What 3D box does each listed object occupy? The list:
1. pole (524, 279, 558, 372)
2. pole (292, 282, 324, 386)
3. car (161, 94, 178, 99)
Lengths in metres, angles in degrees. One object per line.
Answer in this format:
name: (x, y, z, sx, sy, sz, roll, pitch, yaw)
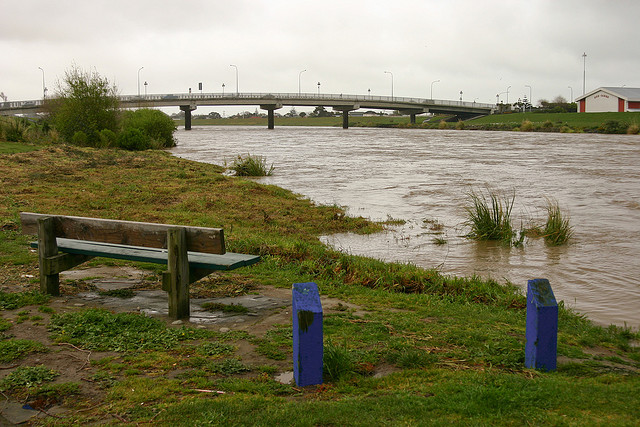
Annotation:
pole: (3.375, 1.724, 11.657, 0.491, 1.323, 0.545, 3, 15, 15)
pole: (-0.195, 1.805, 11.398, 0.420, 1.417, 0.518, -2, 15, -2)
car: (-19.714, -15.010, 99.841, 1.364, 0.706, 2.943, -11, 18, -33)
